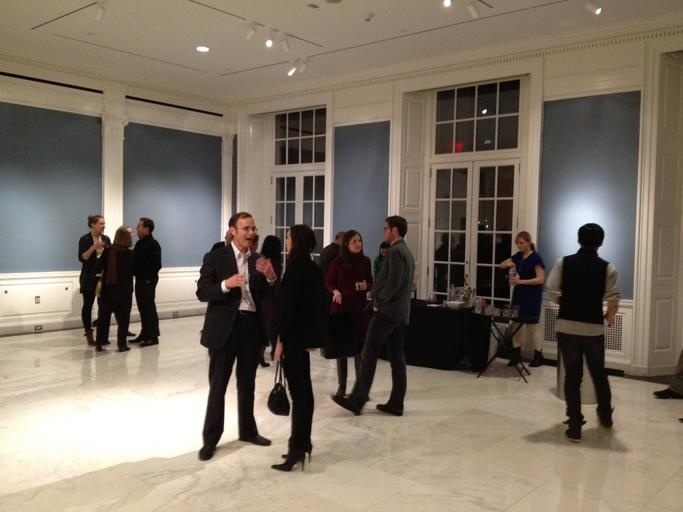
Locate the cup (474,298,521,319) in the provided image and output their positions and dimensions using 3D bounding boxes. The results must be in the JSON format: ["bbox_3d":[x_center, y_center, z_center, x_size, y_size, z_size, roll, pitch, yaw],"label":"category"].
[{"bbox_3d":[1.996,0.689,6.343,0.530,0.239,0.348,2,4,14],"label":"cup"}]

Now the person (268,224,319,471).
[{"bbox_3d":[-0.343,0.738,3.954,0.407,1.980,0.227,1,3,-9],"label":"person"}]

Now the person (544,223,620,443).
[{"bbox_3d":[2.288,0.698,4.577,0.689,1.994,0.379,0,3,-12],"label":"person"}]

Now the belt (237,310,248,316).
[{"bbox_3d":[-0.821,0.474,4.142,0.113,0.051,0.014,0,3,-23],"label":"belt"}]

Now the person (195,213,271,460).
[{"bbox_3d":[-0.893,0.666,4.177,0.647,2.071,0.582,0,3,-16],"label":"person"}]

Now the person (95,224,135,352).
[{"bbox_3d":[-3.333,0.477,7.181,0.524,1.841,0.427,0,3,-19],"label":"person"}]

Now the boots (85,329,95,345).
[{"bbox_3d":[-3.911,1.218,7.638,0.117,0.264,0.422,-1,4,-28],"label":"boots"}]

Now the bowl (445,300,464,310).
[{"bbox_3d":[1.526,0.646,6.604,0.239,0.086,0.146,2,4,12],"label":"bowl"}]

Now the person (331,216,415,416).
[{"bbox_3d":[0.397,0.618,5.066,0.670,2.067,0.452,1,3,5],"label":"person"}]

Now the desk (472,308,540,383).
[{"bbox_3d":[2.249,0.998,6.758,0.846,1.045,0.942,4,23,19],"label":"desk"}]

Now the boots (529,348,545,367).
[{"bbox_3d":[2.732,1.425,6.939,0.329,0.236,0.119,-9,4,-40],"label":"boots"}]

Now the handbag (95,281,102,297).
[{"bbox_3d":[-3.525,0.463,7.115,0.062,0.215,0.218,-1,4,-31],"label":"handbag"}]
